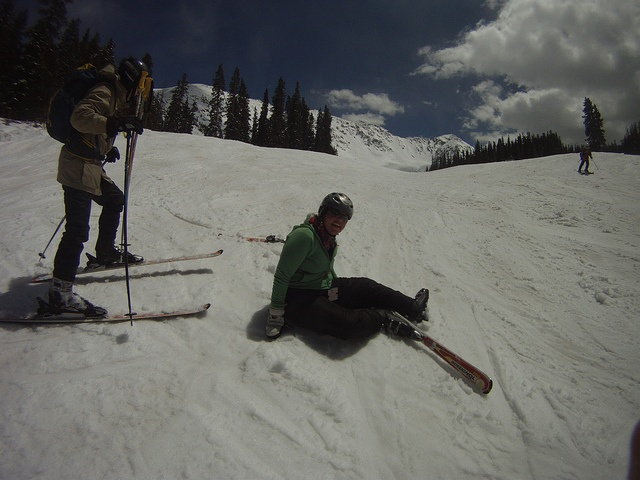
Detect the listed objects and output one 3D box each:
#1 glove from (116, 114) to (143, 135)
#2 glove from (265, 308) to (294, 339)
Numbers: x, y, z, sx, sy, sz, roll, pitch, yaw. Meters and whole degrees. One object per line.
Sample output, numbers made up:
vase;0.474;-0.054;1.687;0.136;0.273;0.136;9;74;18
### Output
glove;-3.156;-1.949;6.943;0.377;0.339;0.173;8;25;-7
glove;-0.696;1.371;6.957;0.461;0.492;0.241;-2;14;-42
